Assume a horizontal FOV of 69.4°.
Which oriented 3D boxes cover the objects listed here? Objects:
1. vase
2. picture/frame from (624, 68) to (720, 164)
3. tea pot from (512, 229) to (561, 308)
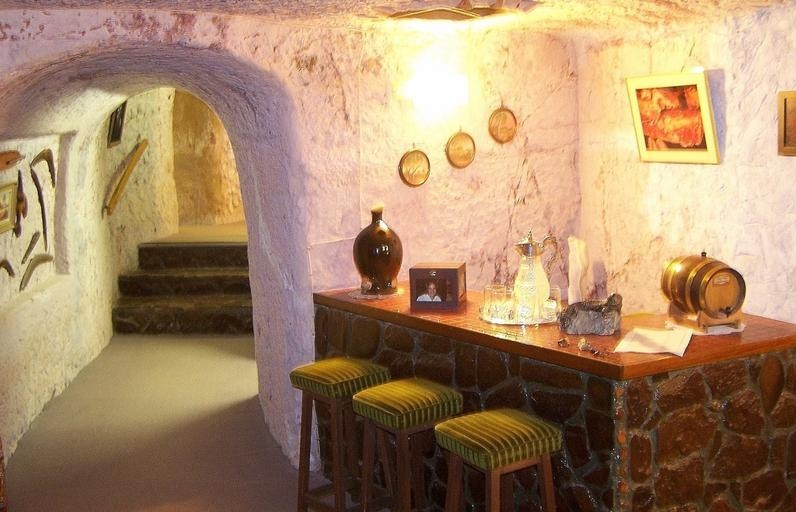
[{"bbox_3d":[-0.131,-0.029,3.525,0.277,0.536,0.172,4,15,19],"label":"vase"},{"bbox_3d":[1.822,-0.916,3.755,0.626,0.682,0.066,15,34,41],"label":"picture/frame"},{"bbox_3d":[0.732,0.059,3.059,0.211,0.347,0.296,3,14,15],"label":"tea pot"}]
